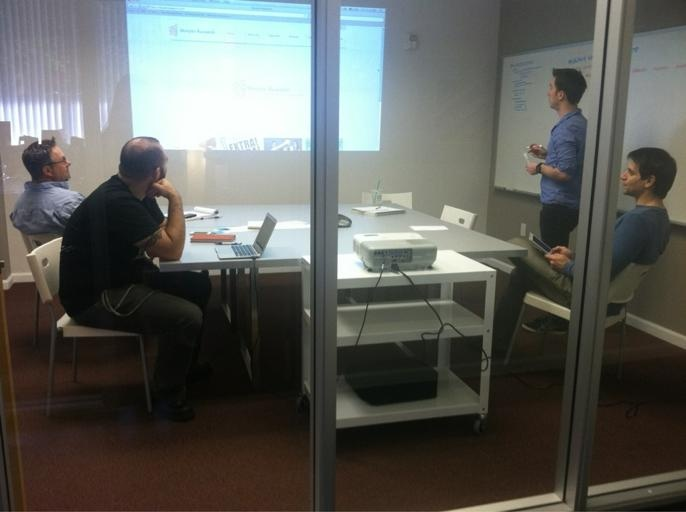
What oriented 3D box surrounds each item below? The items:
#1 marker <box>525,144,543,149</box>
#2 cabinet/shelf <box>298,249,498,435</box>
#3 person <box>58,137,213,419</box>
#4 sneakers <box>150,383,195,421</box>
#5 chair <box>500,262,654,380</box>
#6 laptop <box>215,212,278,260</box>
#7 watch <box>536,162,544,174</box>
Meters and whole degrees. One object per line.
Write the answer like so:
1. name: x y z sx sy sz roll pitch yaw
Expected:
1. marker: 0.795 -0.454 2.321 0.079 0.021 0.003 -7 15 -24
2. cabinet/shelf: 0.221 0.371 2.373 0.694 0.648 0.426 -5 16 -14
3. person: -0.793 0.076 2.163 0.541 1.006 0.461 -1 12 -33
4. sneakers: -0.643 0.558 2.168 0.175 0.181 0.081 -3 13 -17
5. chair: 1.199 0.237 2.676 0.362 0.516 0.320 20 9 30
6. laptop: -0.350 -0.082 2.074 0.186 0.137 0.155 -1 19 -16
7. watch: 0.824 -0.367 2.347 0.029 0.049 0.044 1 7 11
